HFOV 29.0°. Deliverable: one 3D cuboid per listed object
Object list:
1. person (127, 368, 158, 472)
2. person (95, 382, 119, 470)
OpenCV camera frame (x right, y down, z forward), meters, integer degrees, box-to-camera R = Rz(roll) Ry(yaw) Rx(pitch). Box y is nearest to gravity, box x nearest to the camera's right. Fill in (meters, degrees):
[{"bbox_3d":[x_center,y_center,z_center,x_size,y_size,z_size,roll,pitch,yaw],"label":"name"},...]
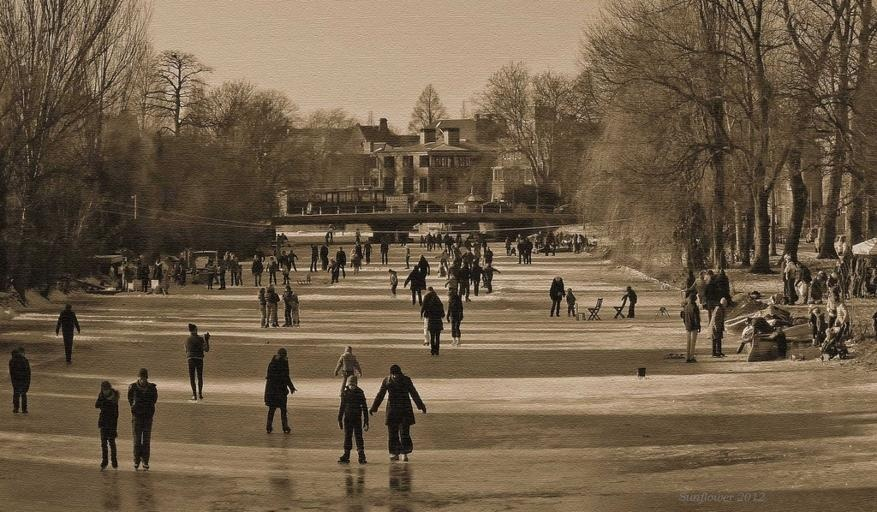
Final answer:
[{"bbox_3d":[-9.219,4.997,52.678,1.228,2.898,1.231,1,-2,-24],"label":"person"},{"bbox_3d":[-10.234,5.257,52.747,0.679,2.732,1.367,1,-2,-11],"label":"person"}]
